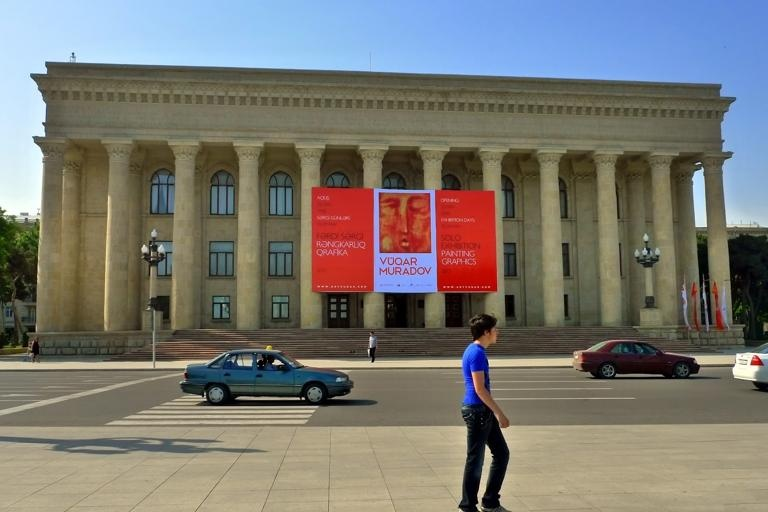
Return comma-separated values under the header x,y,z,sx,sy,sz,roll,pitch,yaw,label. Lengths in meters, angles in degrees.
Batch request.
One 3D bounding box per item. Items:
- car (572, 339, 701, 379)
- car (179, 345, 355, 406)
x,y,z,sx,sy,sz,roll,pitch,yaw,label
12.131,5.329,41.629,7.020,2.199,3.936,-1,-2,4,car
-4.916,4.914,34.410,6.279,2.203,0.671,-2,-7,1,car
